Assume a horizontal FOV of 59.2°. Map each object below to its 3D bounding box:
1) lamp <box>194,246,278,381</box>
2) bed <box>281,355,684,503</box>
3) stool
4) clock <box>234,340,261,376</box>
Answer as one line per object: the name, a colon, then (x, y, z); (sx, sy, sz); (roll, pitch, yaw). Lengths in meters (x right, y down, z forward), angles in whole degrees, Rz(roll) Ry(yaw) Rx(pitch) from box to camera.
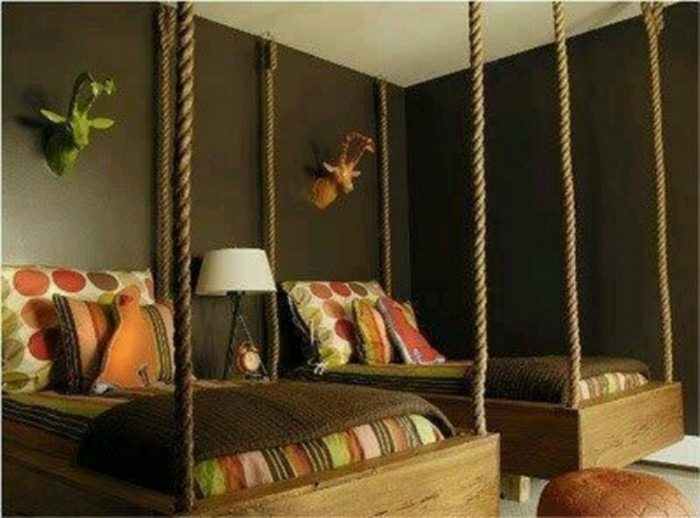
lamp: (-0.814, 0.466, 4.452); (0.541, 1.204, 0.525); (-10, 13, -41)
bed: (0.708, 0.828, 2.998); (1.373, 0.368, 0.954); (0, -3, -41)
stool: (1.054, 0.954, 2.471); (0.588, 0.120, 0.307); (-6, -5, 16)
clock: (-0.741, 0.705, 4.365); (0.115, 0.311, 0.215); (-14, -10, 33)
